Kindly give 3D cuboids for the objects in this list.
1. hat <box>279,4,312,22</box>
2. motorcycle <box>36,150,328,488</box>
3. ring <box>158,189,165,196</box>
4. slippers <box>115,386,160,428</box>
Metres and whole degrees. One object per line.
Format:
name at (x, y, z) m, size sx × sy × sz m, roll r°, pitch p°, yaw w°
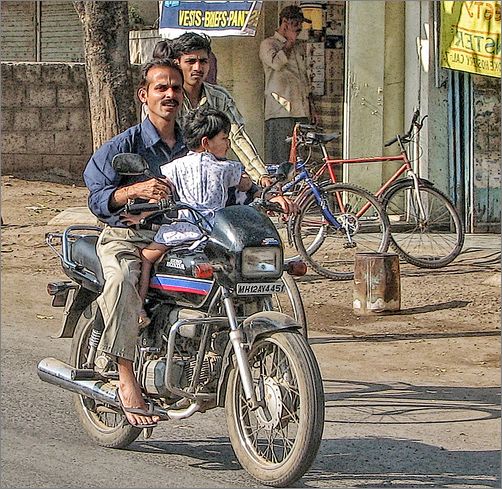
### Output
hat at (0.653, -3.435, 12.907) m, size 0.503 × 0.208 × 0.275 m, roll -3°, pitch 9°, yaw -5°
motorcycle at (-0.315, 0.355, 4.215) m, size 0.685 × 1.581 × 1.682 m, roll -5°, pitch 10°, yaw -40°
ring at (-0.411, -0.240, 4.011) m, size 0.020 × 0.027 × 0.021 m, roll 2°, pitch 8°, yaw 0°
slippers at (-0.573, 0.768, 4.255) m, size 0.147 × 0.041 × 0.412 m, roll -9°, pitch 23°, yaw -24°
